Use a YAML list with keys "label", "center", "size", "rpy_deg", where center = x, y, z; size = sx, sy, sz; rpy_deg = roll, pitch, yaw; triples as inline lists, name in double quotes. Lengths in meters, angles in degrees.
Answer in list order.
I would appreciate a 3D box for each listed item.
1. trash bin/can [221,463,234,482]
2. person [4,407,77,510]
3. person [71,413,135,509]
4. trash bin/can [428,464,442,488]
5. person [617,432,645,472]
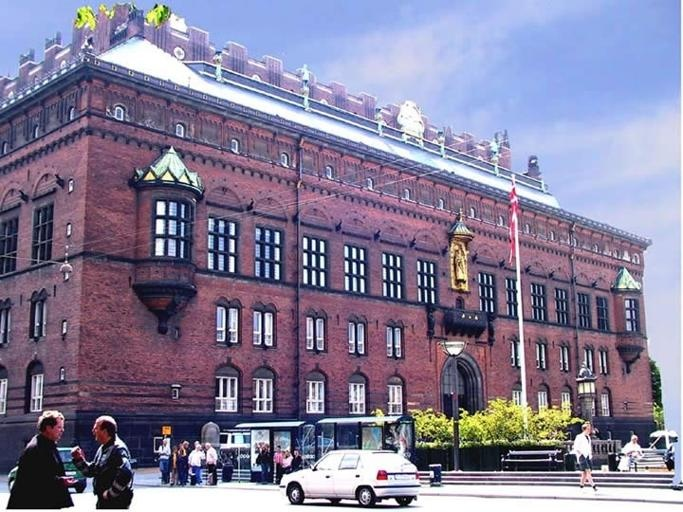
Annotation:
- label: "trash bin/can"
  center: [-5.592, 10.615, 46.420]
  size: [0.703, 0.917, 0.803]
  rpy_deg: [-1, -12, 1]
- label: "person"
  center: [-7.023, 4.753, 22.309]
  size: [1.353, 2.270, 0.662]
  rpy_deg: [2, -19, -15]
- label: "person"
  center: [-5.740, 4.952, 23.016]
  size: [1.296, 2.321, 1.191]
  rpy_deg: [2, -19, -14]
- label: "trash bin/can"
  center: [3.969, 9.347, 40.557]
  size: [0.439, 0.964, 0.485]
  rpy_deg: [-4, -18, 2]
- label: "person"
  center: [13.388, 9.010, 43.567]
  size: [0.923, 1.625, 1.094]
  rpy_deg: [-7, 5, -7]
